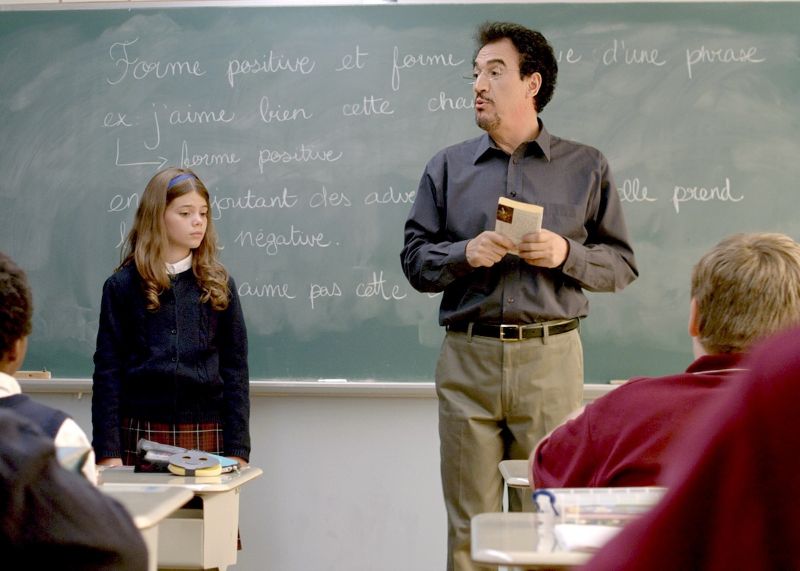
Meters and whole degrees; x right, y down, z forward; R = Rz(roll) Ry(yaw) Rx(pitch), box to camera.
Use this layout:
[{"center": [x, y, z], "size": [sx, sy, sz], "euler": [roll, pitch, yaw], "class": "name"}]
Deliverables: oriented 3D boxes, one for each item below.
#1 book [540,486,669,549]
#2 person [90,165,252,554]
[{"center": [0.493, 0.554, 2.361], "size": [0.285, 0.111, 0.220], "euler": [2, -5, -14], "class": "book"}, {"center": [-0.849, 0.420, 3.661], "size": [0.538, 1.651, 0.414], "euler": [2, 8, -10], "class": "person"}]
